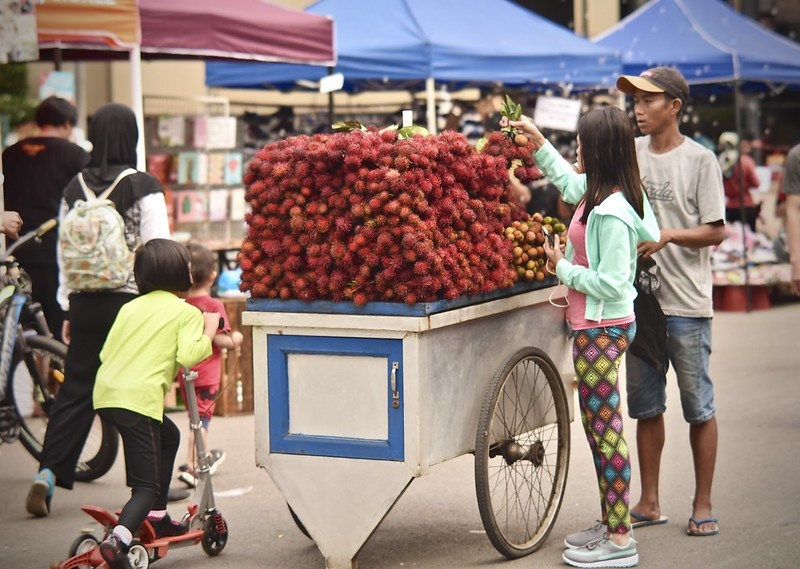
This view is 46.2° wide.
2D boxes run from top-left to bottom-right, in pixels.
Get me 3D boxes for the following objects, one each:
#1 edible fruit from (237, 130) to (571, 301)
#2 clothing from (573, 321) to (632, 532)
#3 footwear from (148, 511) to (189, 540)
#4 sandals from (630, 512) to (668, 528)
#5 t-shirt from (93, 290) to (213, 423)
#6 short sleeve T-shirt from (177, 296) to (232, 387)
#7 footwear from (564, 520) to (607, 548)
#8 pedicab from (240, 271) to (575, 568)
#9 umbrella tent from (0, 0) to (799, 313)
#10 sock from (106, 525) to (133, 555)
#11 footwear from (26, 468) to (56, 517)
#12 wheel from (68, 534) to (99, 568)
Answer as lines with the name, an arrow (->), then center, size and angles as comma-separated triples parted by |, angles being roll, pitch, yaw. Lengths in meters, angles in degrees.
edible fruit -> 0.042, -0.519, 5.659 | 0.969, 0.810, 1.333 | 3, 11, 32
clothing -> 1.228, 0.886, 5.718 | 0.355, 1.260, 0.271 | 1, 9, 13
footwear -> -1.403, 1.468, 5.643 | 0.093, 0.137, 0.279 | -1, -5, 45
sandals -> 1.658, 1.573, 6.240 | 0.256, 0.095, 0.107 | 1, -1, -10
t-shirt -> -1.500, 0.464, 5.613 | 0.604, 0.843, 0.697 | -1, -14, 17
short sleeve T-shirt -> -1.446, 0.419, 7.038 | 0.249, 0.751, 0.545 | 5, 17, -13
footwear -> 1.144, 1.567, 5.834 | 0.313, 0.149, 0.118 | -9, 24, -13
pedicab -> 0.213, 0.736, 5.996 | 1.376, 1.697, 2.029 | -2, -1, 28
umbrella tent -> 0.042, -1.171, 8.180 | 3.465, 1.793, 3.692 | 8, 11, 40
sock -> -1.547, 1.428, 5.207 | 0.083, 0.108, 0.146 | 6, 18, -24
footwear -> -2.328, 1.402, 6.129 | 0.143, 0.485, 0.192 | 0, 41, -10
wheel -> -1.812, 1.550, 5.381 | 0.061, 0.191, 0.157 | 5, -15, 16
